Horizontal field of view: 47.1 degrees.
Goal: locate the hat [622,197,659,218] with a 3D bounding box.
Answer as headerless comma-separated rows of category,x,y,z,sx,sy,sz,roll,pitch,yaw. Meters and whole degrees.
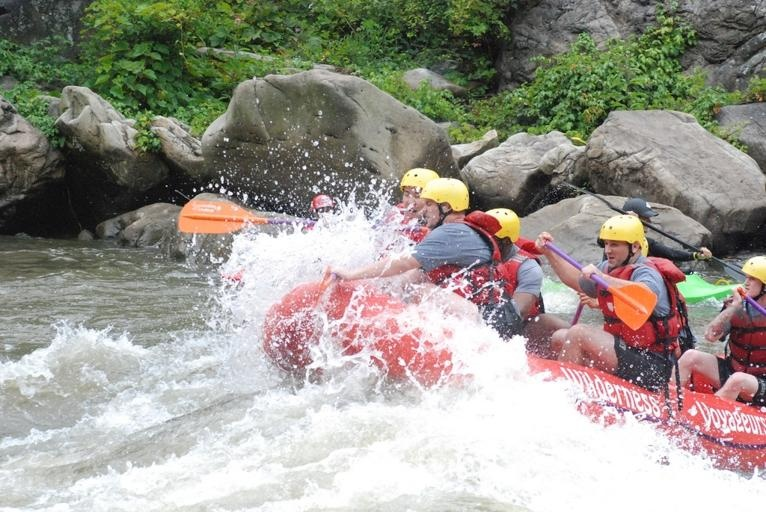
hat,3.441,-0.664,11.883,0.515,0.243,0.365,8,11,9

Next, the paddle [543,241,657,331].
paddle,2.426,0.289,9.690,1.470,0.427,0.119,41,18,31

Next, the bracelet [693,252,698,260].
bracelet,4.088,-0.014,11.546,0.083,0.035,0.082,31,-32,-34

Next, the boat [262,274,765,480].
boat,1.447,1.220,9.876,5.007,0.862,2.262,23,-7,-2

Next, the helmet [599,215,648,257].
helmet,2.714,-0.260,10.089,0.528,0.431,0.417,-14,16,-21

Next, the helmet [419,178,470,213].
helmet,0.824,-0.720,10.177,0.506,0.301,0.387,-7,5,39

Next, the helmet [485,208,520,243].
helmet,1.390,-0.359,10.366,0.515,0.384,0.380,-3,16,-29

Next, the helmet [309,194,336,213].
helmet,-0.838,-0.775,11.930,0.345,0.194,0.458,-6,-14,-7
